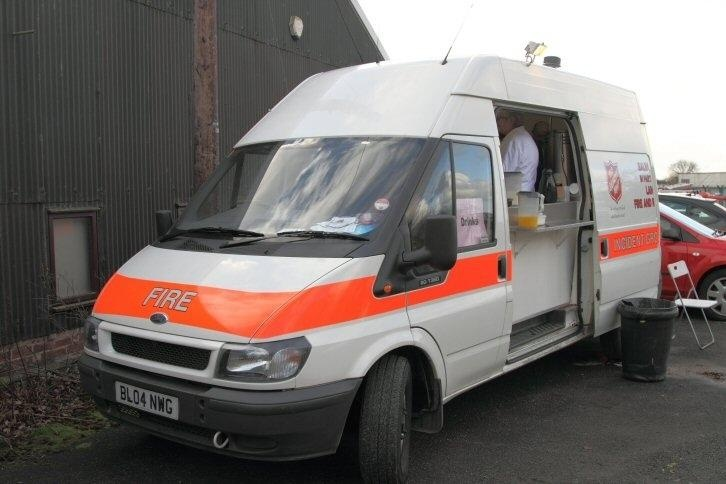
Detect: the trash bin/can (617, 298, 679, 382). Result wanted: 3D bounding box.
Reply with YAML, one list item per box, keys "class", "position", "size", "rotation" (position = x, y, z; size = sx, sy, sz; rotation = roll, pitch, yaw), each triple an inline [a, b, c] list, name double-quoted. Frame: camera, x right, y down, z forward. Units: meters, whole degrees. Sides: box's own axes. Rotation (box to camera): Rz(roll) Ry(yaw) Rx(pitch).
- class: "trash bin/can"
  position: [3.601, 1.229, 7.247]
  size: [0.929, 1.130, 0.909]
  rotation: [1, 2, 14]

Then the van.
- class: "van"
  position: [0.673, -0.157, 6.676]
  size: [3.413, 3.437, 6.988]
  rotation: [1, 2, 42]

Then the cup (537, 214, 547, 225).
- class: "cup"
  position: [1.978, -0.238, 6.106]
  size: [0.123, 0.116, 0.161]
  rotation: [0, 6, 21]
